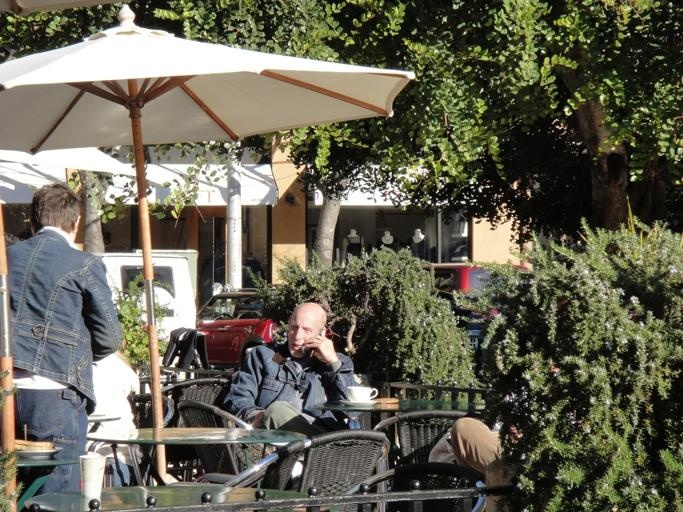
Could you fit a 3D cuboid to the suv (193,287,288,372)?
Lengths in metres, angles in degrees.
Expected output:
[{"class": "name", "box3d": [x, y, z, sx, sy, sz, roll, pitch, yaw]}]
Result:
[{"class": "suv", "box3d": [-1.510, 1.185, 21.275, 2.065, 1.184, 1.103, -3, 3, 43]}]

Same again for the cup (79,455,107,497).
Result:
[{"class": "cup", "box3d": [-1.519, 1.355, 8.624, 0.168, 0.245, 0.167, 2, -5, 0]}]

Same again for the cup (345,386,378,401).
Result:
[{"class": "cup", "box3d": [0.153, 1.045, 10.569, 0.162, 0.087, 0.136, 4, -6, -4]}]
